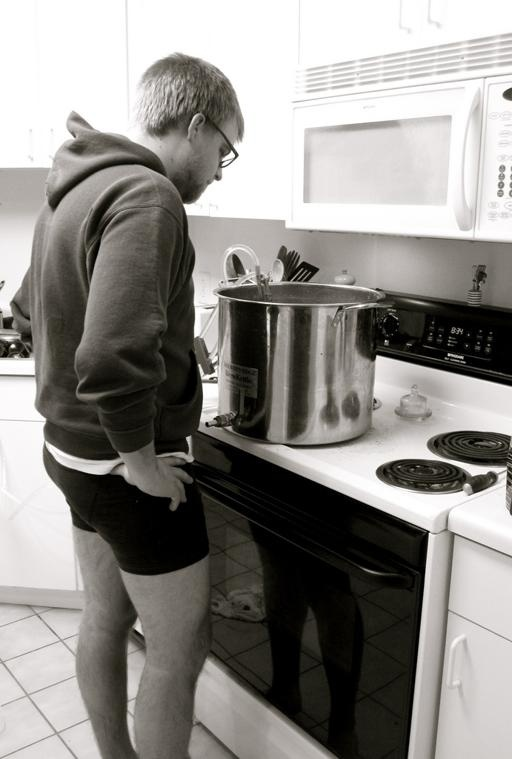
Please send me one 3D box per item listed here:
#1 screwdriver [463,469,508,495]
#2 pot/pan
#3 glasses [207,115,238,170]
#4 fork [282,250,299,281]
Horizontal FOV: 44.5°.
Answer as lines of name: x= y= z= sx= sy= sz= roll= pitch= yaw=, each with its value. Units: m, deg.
screwdriver: x=0.368 y=0.161 z=0.992 sx=0.029 sy=0.032 sz=0.126 roll=-7 pitch=6 yaw=40
pot/pan: x=0.123 y=-0.038 z=1.285 sx=0.355 sy=0.281 sz=0.280 roll=-7 pitch=17 yaw=-26
glasses: x=-0.059 y=-0.415 z=1.086 sx=0.025 sy=0.100 sz=0.094 roll=-15 pitch=1 yaw=3
fork: x=0.100 y=-0.351 z=1.904 sx=0.035 sy=0.121 sz=0.019 roll=23 pitch=-4 yaw=-6
